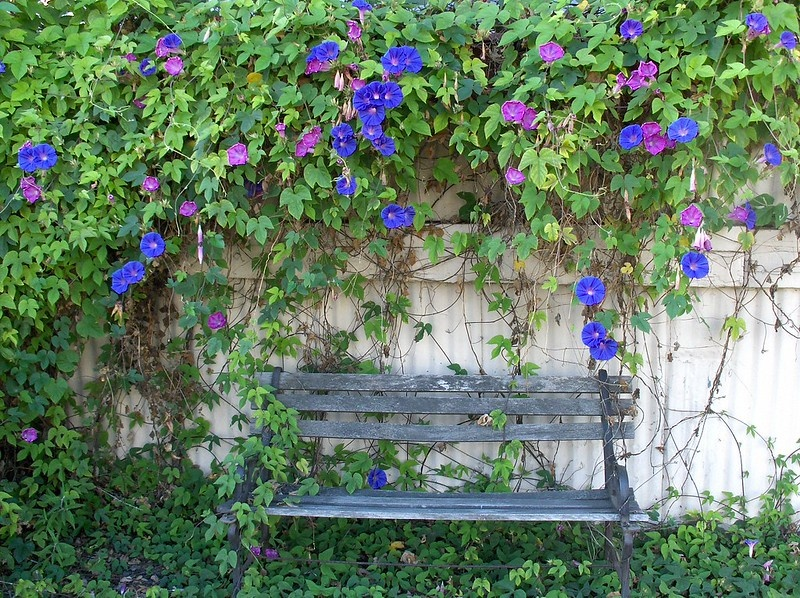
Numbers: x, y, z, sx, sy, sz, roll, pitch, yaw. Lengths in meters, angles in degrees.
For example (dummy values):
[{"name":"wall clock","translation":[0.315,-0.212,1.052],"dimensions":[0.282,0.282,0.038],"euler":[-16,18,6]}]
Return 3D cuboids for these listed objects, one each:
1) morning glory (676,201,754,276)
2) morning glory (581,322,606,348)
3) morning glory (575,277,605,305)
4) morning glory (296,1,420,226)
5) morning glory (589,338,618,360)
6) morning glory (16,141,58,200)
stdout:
[{"name":"morning glory","translation":[1.501,-0.278,3.369],"dimensions":[0.411,0.382,0.140],"euler":[4,-6,-30]},{"name":"morning glory","translation":[0.933,0.168,3.408],"dimensions":[0.113,0.121,0.049],"euler":[20,15,40]},{"name":"morning glory","translation":[0.902,-0.045,3.380],"dimensions":[0.131,0.133,0.085],"euler":[1,-5,7]},{"name":"morning glory","translation":[-0.197,-0.882,3.397],"dimensions":[0.593,1.002,0.369],"euler":[2,-5,-6]},{"name":"morning glory","translation":[0.989,0.241,3.451],"dimensions":[0.117,0.108,0.146],"euler":[-1,-6,20]},{"name":"morning glory","translation":[-1.779,-0.639,3.473],"dimensions":[0.180,0.287,0.081],"euler":[-2,15,-4]}]
